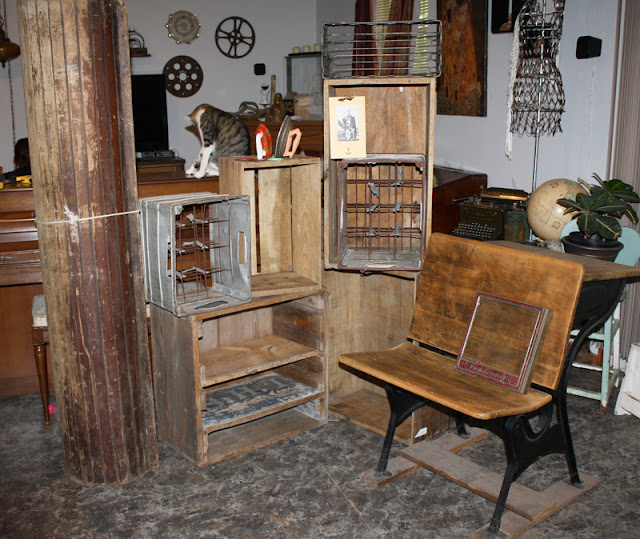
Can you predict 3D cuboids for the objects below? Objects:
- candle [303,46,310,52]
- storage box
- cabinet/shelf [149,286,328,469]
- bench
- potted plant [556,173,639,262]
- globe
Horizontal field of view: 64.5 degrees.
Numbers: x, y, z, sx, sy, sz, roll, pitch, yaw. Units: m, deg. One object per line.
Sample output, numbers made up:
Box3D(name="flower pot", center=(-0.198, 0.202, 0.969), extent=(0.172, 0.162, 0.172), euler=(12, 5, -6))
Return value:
Box3D(name="candle", center=(-0.250, -3.851, 8.835), extent=(0.126, 0.125, 0.067), euler=(3, 35, 1))
Box3D(name="storage box", center=(-0.256, -0.271, 2.885), extent=(0.515, 0.727, 0.397), euler=(-10, 17, -32))
Box3D(name="cabinet/shelf", center=(-0.474, 0.521, 2.997), extent=(0.957, 0.854, 0.600), euler=(-10, 17, -34))
Box3D(name="bench", center=(0.671, 0.461, 2.329), extent=(0.726, 1.156, 0.812), euler=(-13, 18, -39))
Box3D(name="potted plant", center=(1.789, -0.345, 3.371), extent=(0.545, 0.552, 0.550), euler=(-2, 12, -31))
Box3D(name="globe", center=(1.735, -0.435, 3.724), extent=(0.438, 0.507, 0.440), euler=(6, 27, 20))
